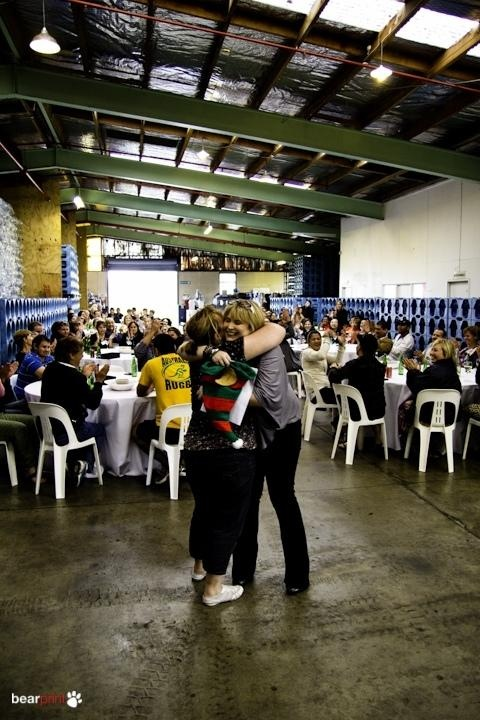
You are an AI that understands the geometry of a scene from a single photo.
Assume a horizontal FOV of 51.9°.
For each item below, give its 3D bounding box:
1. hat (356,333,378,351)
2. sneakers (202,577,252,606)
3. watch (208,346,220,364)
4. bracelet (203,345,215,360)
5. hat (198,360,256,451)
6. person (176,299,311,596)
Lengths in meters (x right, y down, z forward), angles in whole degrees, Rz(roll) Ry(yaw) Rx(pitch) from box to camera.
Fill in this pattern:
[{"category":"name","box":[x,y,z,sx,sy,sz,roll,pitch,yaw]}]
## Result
[{"category":"hat","box":[1.194,-0.176,4.644,0.182,0.193,0.147,3,-12,39]},{"category":"sneakers","box":[-0.070,1.068,2.295,0.184,0.073,0.081,-2,8,-37]},{"category":"watch","box":[-0.097,-0.020,1.768,0.021,0.044,0.053,-8,-41,9]},{"category":"bracelet","box":[-0.119,-0.031,1.814,0.041,0.045,0.050,4,-10,-21]},{"category":"hat","box":[-0.046,0.174,1.843,0.199,0.349,0.218,1,1,0]},{"category":"person","box":[0.037,0.324,2.129,0.416,1.280,0.383,-6,-15,6]}]
